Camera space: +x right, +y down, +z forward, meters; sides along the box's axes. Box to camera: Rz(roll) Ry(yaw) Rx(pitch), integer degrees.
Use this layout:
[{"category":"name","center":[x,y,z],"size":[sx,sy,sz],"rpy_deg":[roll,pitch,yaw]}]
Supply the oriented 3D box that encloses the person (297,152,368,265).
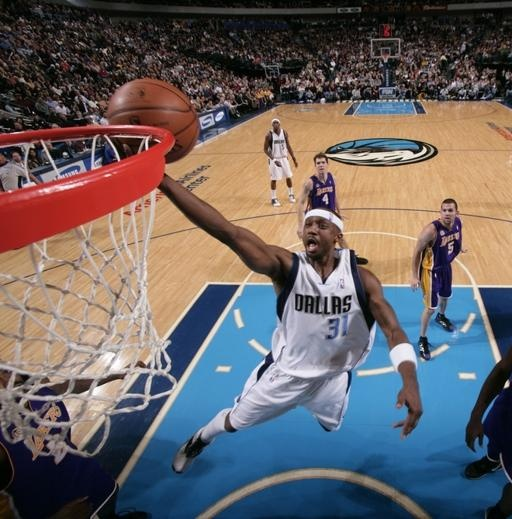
[{"category":"person","center":[1.014,-0.659,5.240],"size":[0.914,1.670,0.508],"rpy_deg":[-1,48,9]}]

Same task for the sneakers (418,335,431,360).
[{"category":"sneakers","center":[1.491,0.764,3.499],"size":[0.086,0.100,0.218],"rpy_deg":[-3,45,4]}]

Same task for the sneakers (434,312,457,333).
[{"category":"sneakers","center":[1.847,0.596,3.842],"size":[0.085,0.092,0.226],"rpy_deg":[-24,30,-7]}]

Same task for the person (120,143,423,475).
[{"category":"person","center":[0.287,0.386,2.093],"size":[1.251,1.768,0.691],"rpy_deg":[9,30,28]}]
